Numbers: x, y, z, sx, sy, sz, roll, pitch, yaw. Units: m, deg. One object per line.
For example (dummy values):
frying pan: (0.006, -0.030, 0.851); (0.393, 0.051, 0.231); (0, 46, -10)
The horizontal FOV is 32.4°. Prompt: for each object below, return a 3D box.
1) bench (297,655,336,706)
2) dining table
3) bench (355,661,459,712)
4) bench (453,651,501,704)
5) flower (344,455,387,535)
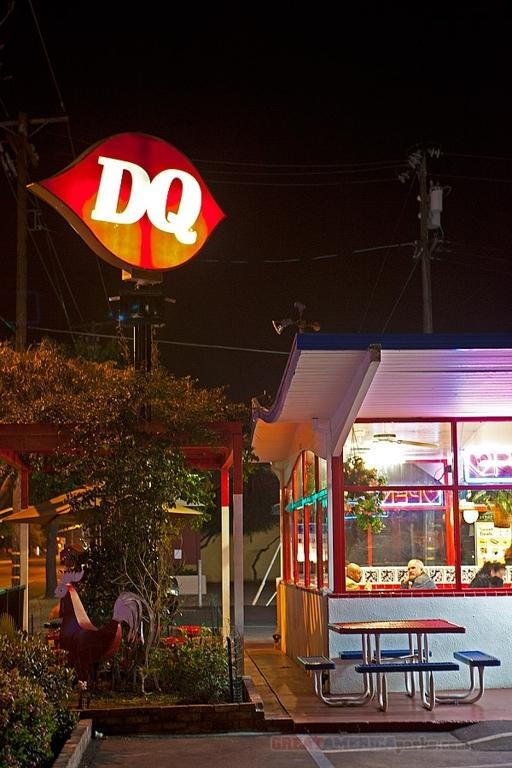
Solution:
bench: (0.656, 3.111, 9.094); (0.313, 0.435, 0.437); (-1, -17, -7)
dining table: (1.447, 2.831, 9.068); (1.118, 0.698, 1.244); (0, -15, -5)
bench: (1.530, 3.080, 9.076); (0.953, 0.489, 1.509); (0, -13, 8)
bench: (2.307, 3.095, 9.285); (0.416, 0.495, 1.707); (-1, -13, 12)
flower: (1.349, 1.385, 10.881); (0.306, 0.797, 0.584); (-12, -22, -14)
